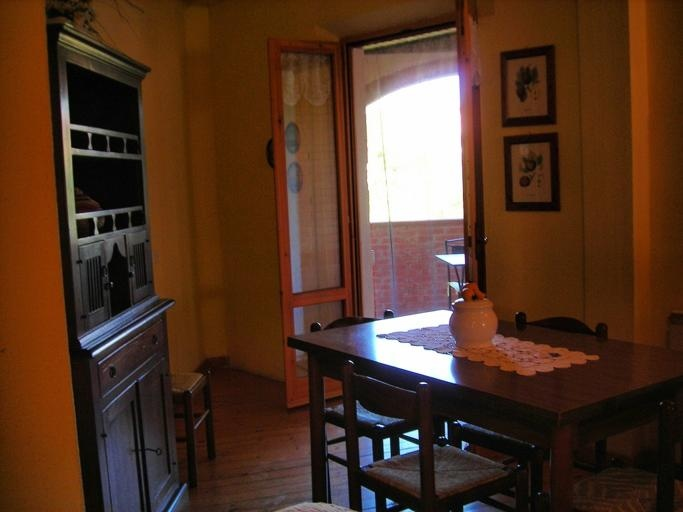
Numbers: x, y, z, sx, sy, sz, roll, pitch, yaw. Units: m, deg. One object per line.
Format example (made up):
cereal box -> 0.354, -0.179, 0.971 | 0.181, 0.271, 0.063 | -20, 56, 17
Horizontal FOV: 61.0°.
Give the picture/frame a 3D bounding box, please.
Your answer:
picture/frame -> 1.245, -0.831, 3.845 | 0.348, 1.065, 0.118 | -2, 8, 19
